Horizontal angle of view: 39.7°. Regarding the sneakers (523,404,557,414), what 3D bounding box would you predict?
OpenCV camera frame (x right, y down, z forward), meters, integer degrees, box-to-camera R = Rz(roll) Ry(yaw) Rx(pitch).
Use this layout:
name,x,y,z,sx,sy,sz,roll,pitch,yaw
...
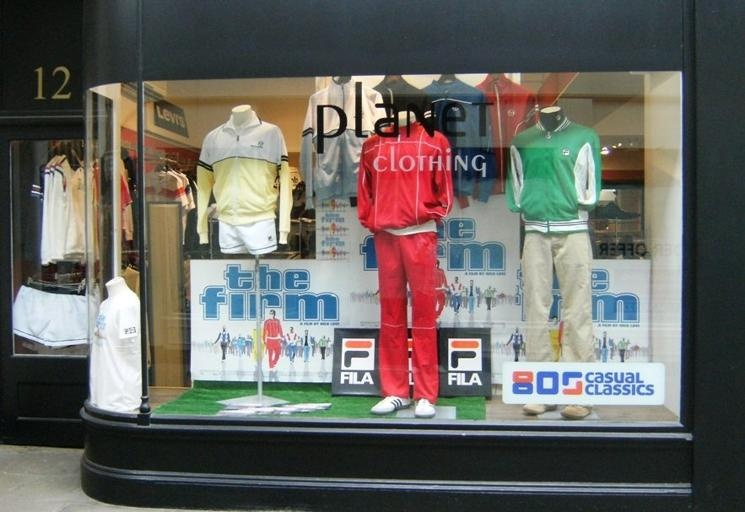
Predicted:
name,x,y,z,sx,sy,sz,roll,pitch,yaw
sneakers,1.097,0.986,6.734,0.214,0.096,0.080,3,-8,2

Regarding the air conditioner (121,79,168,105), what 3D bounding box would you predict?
name,x,y,z,sx,sy,sz,roll,pitch,yaw
air conditioner,-1.518,-1.087,6.838,0.282,0.113,0.099,1,-3,-15

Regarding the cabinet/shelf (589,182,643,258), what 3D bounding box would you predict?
name,x,y,z,sx,sy,sz,roll,pitch,yaw
cabinet/shelf,1.657,-0.189,7.088,0.398,0.568,0.283,5,-19,1

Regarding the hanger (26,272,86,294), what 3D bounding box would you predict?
name,x,y,z,sx,sy,sz,roll,pitch,yaw
hanger,-2.329,0.208,7.576,0.440,0.149,0.032,1,-3,6

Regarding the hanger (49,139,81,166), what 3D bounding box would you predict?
name,x,y,z,sx,sy,sz,roll,pitch,yaw
hanger,-2.237,-0.758,7.546,0.189,0.168,0.021,1,-3,3

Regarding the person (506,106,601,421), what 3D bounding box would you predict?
name,x,y,z,sx,sy,sz,roll,pitch,yaw
person,1.224,-0.150,6.932,0.617,1.692,0.214,1,-3,5

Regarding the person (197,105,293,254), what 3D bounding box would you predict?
name,x,y,z,sx,sy,sz,roll,pitch,yaw
person,-0.905,-0.530,7.174,0.621,0.991,0.235,0,-3,20

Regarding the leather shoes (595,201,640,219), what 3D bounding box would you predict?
name,x,y,z,sx,sy,sz,roll,pitch,yaw
leather shoes,1.642,-0.321,6.896,0.216,0.112,0.136,2,3,4

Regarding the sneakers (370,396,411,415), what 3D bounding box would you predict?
name,x,y,z,sx,sy,sz,roll,pitch,yaw
sneakers,0.125,1.001,6.923,0.271,0.109,0.106,-2,-8,-18

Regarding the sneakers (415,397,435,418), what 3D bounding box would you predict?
name,x,y,z,sx,sy,sz,roll,pitch,yaw
sneakers,0.358,1.009,6.854,0.136,0.108,0.125,1,-2,2

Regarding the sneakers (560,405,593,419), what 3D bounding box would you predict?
name,x,y,z,sx,sy,sz,roll,pitch,yaw
sneakers,1.332,1.018,6.722,0.205,0.091,0.081,0,-12,8

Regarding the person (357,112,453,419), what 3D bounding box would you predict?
name,x,y,z,sx,sy,sz,roll,pitch,yaw
person,0.214,0.073,6.965,0.633,1.982,0.243,1,-3,-1

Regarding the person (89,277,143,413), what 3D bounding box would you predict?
name,x,y,z,sx,sy,sz,roll,pitch,yaw
person,-1.737,0.589,6.972,0.365,0.891,0.144,1,-3,-3
